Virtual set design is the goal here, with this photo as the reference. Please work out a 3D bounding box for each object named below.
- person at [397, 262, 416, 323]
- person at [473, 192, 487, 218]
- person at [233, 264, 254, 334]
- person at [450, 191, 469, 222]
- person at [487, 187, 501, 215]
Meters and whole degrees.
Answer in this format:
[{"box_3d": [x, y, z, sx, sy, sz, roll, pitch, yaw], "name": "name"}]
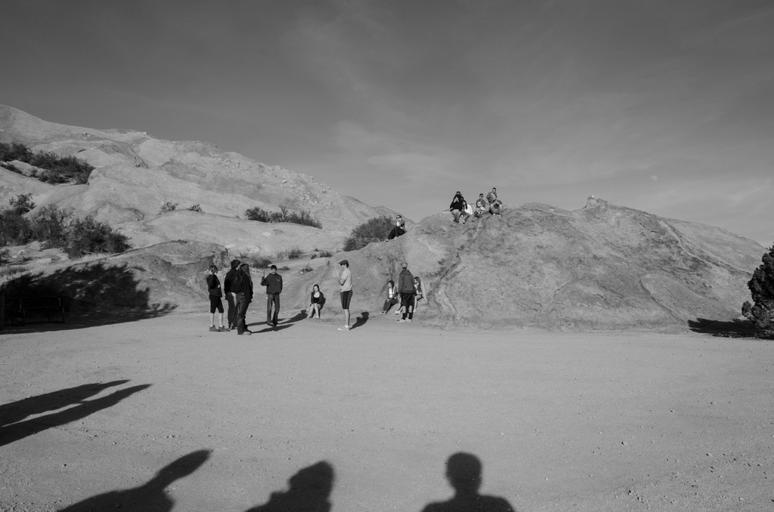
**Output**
[{"box_3d": [0.717, 1.347, 15.504, 0.603, 2.270, 1.295, 0, 8, 2], "name": "person"}, {"box_3d": [4.581, -2.383, 20.454, 0.565, 1.097, 0.481, 0, 8, 2], "name": "person"}, {"box_3d": [-4.320, 1.362, 12.727, 0.469, 1.990, 1.172, -3, 8, -20], "name": "person"}, {"box_3d": [3.572, -2.375, 20.800, 0.900, 1.451, 1.445, 1, 7, 9], "name": "person"}, {"box_3d": [5.123, -2.550, 20.064, 0.661, 1.208, 0.462, 2, 8, 15], "name": "person"}]
